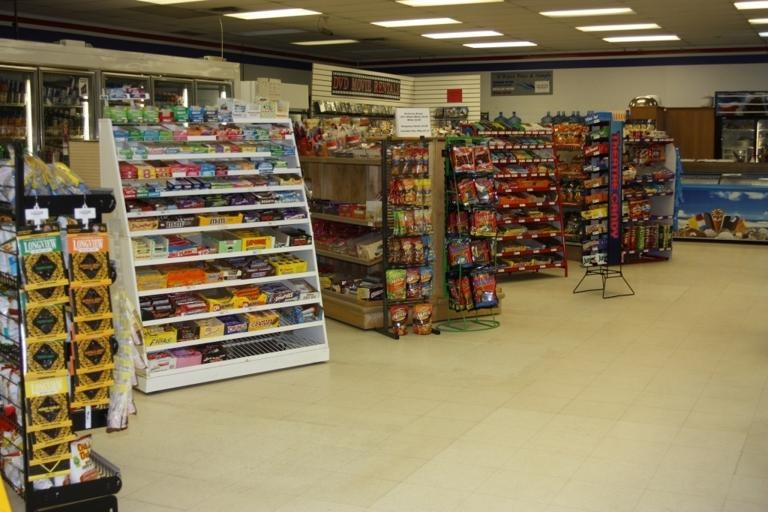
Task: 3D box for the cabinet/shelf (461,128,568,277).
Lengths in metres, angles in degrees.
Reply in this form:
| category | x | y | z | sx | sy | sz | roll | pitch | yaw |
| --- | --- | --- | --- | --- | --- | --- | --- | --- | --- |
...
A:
| category | x | y | z | sx | sy | sz | roll | pitch | yaw |
| --- | --- | --- | --- | --- | --- | --- | --- | --- | --- |
| cabinet/shelf | 2.321 | -0.963 | 9.549 | 1.413 | 2.327 | 1.234 | -6 | 17 | -13 |

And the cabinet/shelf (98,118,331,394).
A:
| category | x | y | z | sx | sy | sz | roll | pitch | yaw |
| --- | --- | --- | --- | --- | --- | --- | --- | --- | --- |
| cabinet/shelf | -1.638 | -0.099 | 5.738 | 1.949 | 2.493 | 1.262 | -8 | 18 | -20 |
